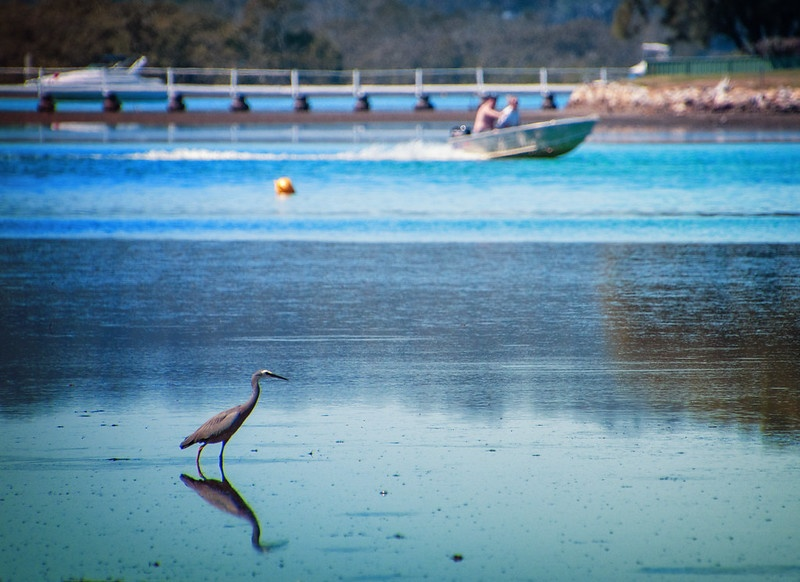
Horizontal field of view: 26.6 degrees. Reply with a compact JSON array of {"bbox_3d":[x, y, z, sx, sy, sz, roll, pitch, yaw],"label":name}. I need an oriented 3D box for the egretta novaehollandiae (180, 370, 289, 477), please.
[{"bbox_3d":[-2.855,2.229,28.742,2.219,0.578,1.659,-8,78,26],"label":"egretta novaehollandiae"}]

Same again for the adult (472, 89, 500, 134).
[{"bbox_3d":[2.546,-5.132,49.381,0.747,1.350,1.203,8,59,1],"label":"adult"}]

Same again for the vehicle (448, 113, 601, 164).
[{"bbox_3d":[3.862,-4.573,49.822,3.744,3.147,1.363,-4,92,-44],"label":"vehicle"}]
